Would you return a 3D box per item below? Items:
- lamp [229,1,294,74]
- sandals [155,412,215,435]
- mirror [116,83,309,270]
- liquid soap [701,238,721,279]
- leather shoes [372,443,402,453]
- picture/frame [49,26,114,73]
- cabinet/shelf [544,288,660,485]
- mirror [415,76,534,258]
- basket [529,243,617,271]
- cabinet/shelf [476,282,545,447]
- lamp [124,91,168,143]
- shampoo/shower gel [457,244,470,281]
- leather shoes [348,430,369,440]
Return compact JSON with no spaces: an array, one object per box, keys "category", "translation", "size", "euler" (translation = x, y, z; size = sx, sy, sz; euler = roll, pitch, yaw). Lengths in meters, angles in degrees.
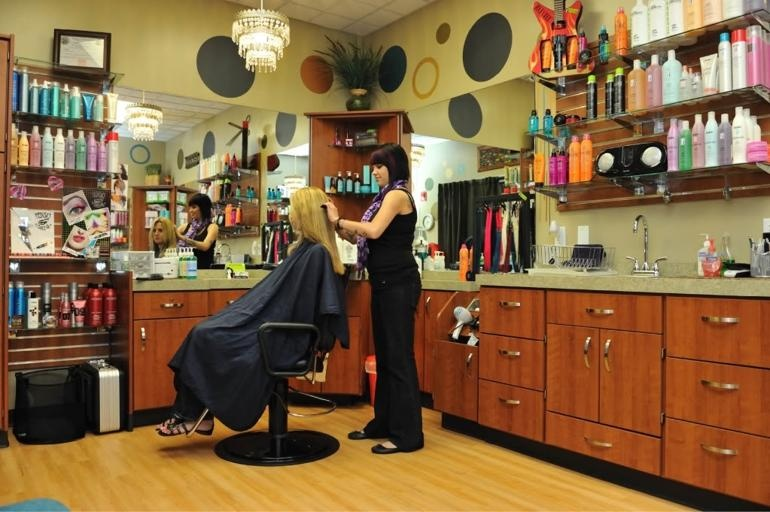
[{"category":"lamp","translation":[-1.111,-1.965,5.847],"size":[0.472,0.427,0.327],"euler":[-2,10,-11]},{"category":"sandals","translation":[-1.351,1.175,4.440],"size":[0.361,0.112,0.174],"euler":[9,4,-17]},{"category":"mirror","translation":[-1.575,-0.656,5.786],"size":[1.658,1.557,0.492],"euler":[-5,-8,30]},{"category":"liquid soap","translation":[2.228,0.015,4.453],"size":[0.128,0.237,0.207],"euler":[5,11,26]},{"category":"leather shoes","translation":[0.013,1.336,4.525],"size":[0.151,0.036,0.086],"euler":[5,-8,-10]},{"category":"picture/frame","translation":[-2.531,-1.711,5.409],"size":[0.488,0.422,0.039],"euler":[3,-13,-22]},{"category":"cabinet/shelf","translation":[1.423,0.763,4.192],"size":[0.727,1.074,0.284],"euler":[4,10,23]},{"category":"mirror","translation":[0.819,-0.731,5.738],"size":[0.141,1.598,1.585],"euler":[5,-9,-41]},{"category":"basket","translation":[1.405,0.029,4.903],"size":[0.597,0.249,0.742],"euler":[3,10,15]},{"category":"cabinet/shelf","translation":[0.915,0.727,4.595],"size":[0.517,1.002,0.231],"euler":[6,11,29]},{"category":"lamp","translation":[-2.080,-1.171,5.680],"size":[0.301,0.330,0.270],"euler":[-3,10,-18]},{"category":"shampoo/shower gel","translation":[0.679,0.058,5.519],"size":[0.089,0.252,0.214],"euler":[2,10,8]},{"category":"leather shoes","translation":[-0.186,1.313,4.792],"size":[0.117,0.042,0.069],"euler":[4,-5,-17]}]
